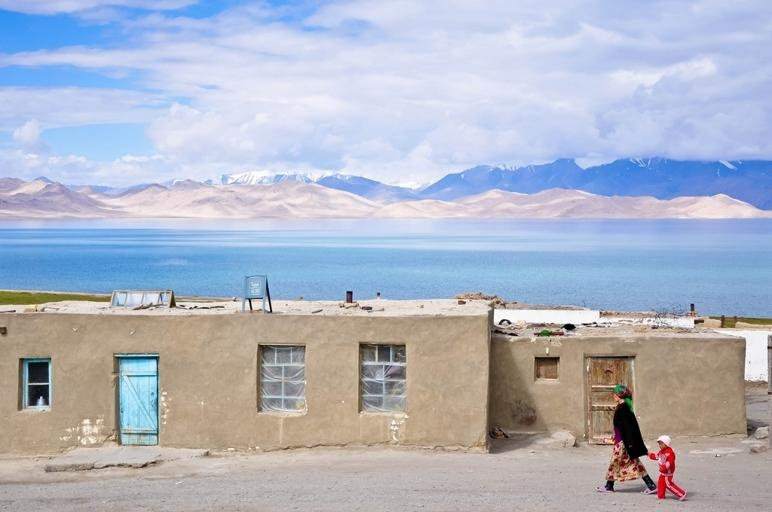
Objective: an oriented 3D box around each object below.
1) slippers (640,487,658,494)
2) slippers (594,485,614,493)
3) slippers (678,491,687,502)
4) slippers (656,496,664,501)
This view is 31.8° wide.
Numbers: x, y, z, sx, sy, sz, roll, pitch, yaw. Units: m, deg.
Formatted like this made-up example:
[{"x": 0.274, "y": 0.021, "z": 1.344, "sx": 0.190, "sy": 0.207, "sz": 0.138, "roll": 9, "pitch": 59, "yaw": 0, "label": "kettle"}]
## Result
[{"x": 11.149, "y": 9.967, "z": 57.290, "sx": 0.615, "sy": 0.209, "sz": 0.213, "roll": 2, "pitch": 3, "yaw": 10, "label": "slippers"}, {"x": 9.300, "y": 9.913, "z": 57.433, "sx": 0.692, "sy": 0.211, "sz": 0.239, "roll": 5, "pitch": 1, "yaw": 14, "label": "slippers"}, {"x": 12.549, "y": 10.108, "z": 56.861, "sx": 0.197, "sy": 0.452, "sz": 0.164, "roll": 44, "pitch": -11, "yaw": 13, "label": "slippers"}, {"x": 11.606, "y": 10.200, "z": 57.003, "sx": 0.292, "sy": 0.166, "sz": 0.125, "roll": 19, "pitch": -16, "yaw": 14, "label": "slippers"}]
